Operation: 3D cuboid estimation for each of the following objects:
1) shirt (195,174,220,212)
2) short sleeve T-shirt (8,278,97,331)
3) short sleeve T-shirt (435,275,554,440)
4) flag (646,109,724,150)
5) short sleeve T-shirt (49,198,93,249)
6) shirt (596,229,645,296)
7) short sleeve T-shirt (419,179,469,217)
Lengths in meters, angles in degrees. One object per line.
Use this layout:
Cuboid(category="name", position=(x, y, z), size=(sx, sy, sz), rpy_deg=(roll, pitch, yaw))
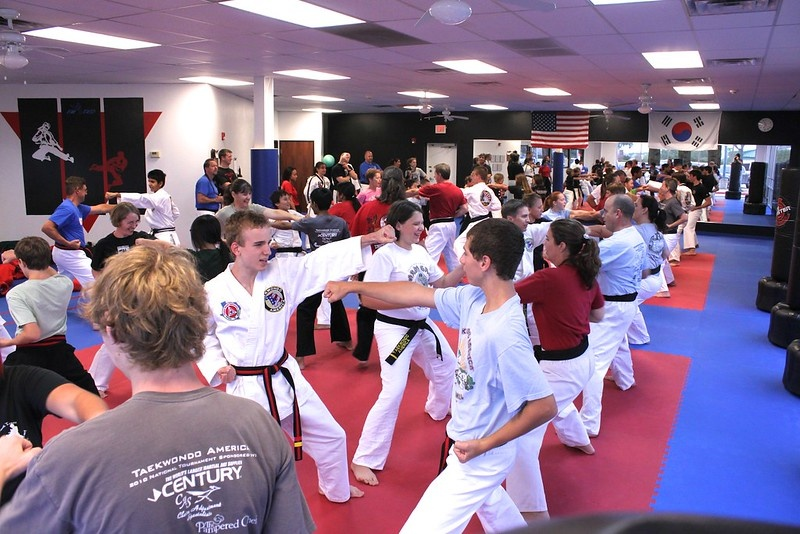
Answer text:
Cuboid(category="shirt", position=(-3.403, -1.341, 9.990), size=(0.421, 0.682, 0.708), rpy_deg=(2, 9, -6))
Cuboid(category="short sleeve T-shirt", position=(-2.935, 0.271, 4.712), size=(0.556, 0.542, 0.417), rpy_deg=(3, 6, -45))
Cuboid(category="short sleeve T-shirt", position=(0.494, 0.615, 3.275), size=(0.449, 0.895, 0.938), rpy_deg=(-4, 17, -23))
Cuboid(category="flag", position=(8.063, -3.950, 16.074), size=(1.801, 1.098, 0.575), rpy_deg=(5, 12, 26))
Cuboid(category="short sleeve T-shirt", position=(-4.736, -0.707, 8.156), size=(0.640, 0.726, 0.706), rpy_deg=(-12, 16, -30))
Cuboid(category="shirt", position=(2.064, -0.038, 5.270), size=(0.543, 0.521, 0.287), rpy_deg=(-17, 24, -42))
Cuboid(category="short sleeve T-shirt", position=(0.707, -1.026, 9.231), size=(0.833, 0.739, 0.480), rpy_deg=(5, -3, -22))
